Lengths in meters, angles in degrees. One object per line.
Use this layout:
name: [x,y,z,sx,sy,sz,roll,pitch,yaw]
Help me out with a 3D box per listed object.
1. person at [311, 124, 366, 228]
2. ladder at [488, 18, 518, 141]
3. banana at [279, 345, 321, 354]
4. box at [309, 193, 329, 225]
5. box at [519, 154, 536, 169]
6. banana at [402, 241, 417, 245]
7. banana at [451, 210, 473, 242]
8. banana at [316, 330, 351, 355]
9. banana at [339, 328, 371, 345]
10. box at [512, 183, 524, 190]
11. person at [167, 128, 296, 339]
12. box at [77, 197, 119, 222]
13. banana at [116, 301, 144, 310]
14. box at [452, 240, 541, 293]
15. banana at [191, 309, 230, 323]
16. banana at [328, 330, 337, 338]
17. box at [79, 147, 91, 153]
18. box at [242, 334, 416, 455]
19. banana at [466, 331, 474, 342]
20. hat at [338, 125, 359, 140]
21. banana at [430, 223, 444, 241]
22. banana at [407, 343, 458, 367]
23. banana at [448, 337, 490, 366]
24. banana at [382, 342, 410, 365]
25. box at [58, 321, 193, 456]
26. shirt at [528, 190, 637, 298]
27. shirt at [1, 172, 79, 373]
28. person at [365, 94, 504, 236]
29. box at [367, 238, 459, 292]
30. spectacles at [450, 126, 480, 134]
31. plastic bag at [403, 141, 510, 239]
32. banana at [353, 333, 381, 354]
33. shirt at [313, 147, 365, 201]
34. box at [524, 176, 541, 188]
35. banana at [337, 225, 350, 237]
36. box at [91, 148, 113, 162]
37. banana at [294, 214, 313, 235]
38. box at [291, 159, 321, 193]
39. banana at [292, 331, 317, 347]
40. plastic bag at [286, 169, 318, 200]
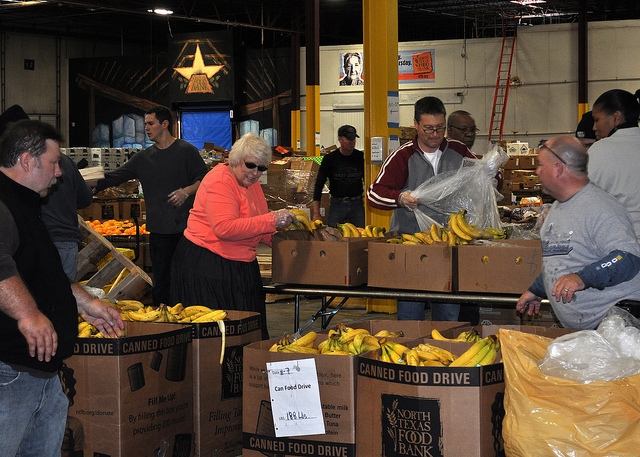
person: [0.261,-0.693,8.166,0.716,1.453,0.431,0,9,3]
ladder: [5.653,-4.604,18.061,0.603,3.623,1.121,6,11,39]
banana: [-0.079,0.537,2.581,0.088,0.026,0.069,4,-7,-37]
box: [-0.002,-0.277,8.601,0.367,0.578,0.292,1,-20,-2]
box: [4.729,-1.518,13.337,0.293,0.214,0.319,0,6,11]
banana: [0.590,0.099,3.859,0.031,0.033,0.102,10,13,37]
banana: [0.945,-0.009,3.934,0.119,0.179,0.166,-2,10,-8]
banana: [0.052,0.514,2.637,0.071,0.084,0.127,5,3,8]
banana: [0.160,0.480,2.670,0.045,0.062,0.211,2,5,36]
box: [4.343,-0.916,12.839,0.225,0.137,0.082,3,10,20]
person: [-0.566,0.319,3.837,0.724,1.818,0.725,-4,14,-22]
box: [-2.902,-0.223,7.625,0.308,0.257,0.176,-1,-2,-14]
banana: [-1.124,0.459,3.439,0.121,0.036,0.046,4,24,-20]
box: [1.098,0.247,3.633,0.310,0.233,0.472,0,2,19]
banana: [-0.593,0.480,3.152,0.177,0.049,0.122,6,12,31]
banana: [0.054,0.499,2.742,0.021,0.030,0.030,-5,7,-12]
box: [-4.632,-1.541,11.550,0.200,0.106,0.217,1,5,12]
box: [-0.050,0.693,2.548,0.446,0.314,0.449,-3,-1,34]
banana: [0.699,0.509,2.721,0.009,0.041,0.007,32,-8,17]
hat: [0.385,-1.321,8.077,0.244,0.159,0.172,11,15,42]
banana: [0.785,0.041,3.972,0.036,0.172,0.054,-32,-35,32]
banana: [0.464,0.547,2.494,0.128,0.057,0.107,1,4,5]
banana: [0.639,0.536,2.503,0.046,0.127,0.027,45,1,-12]
banana: [0.319,0.533,2.480,0.061,0.044,0.098,-22,41,-30]
box: [-0.949,0.733,2.893,0.553,0.621,0.575,1,-7,-19]
shirt: [1.155,0.116,2.597,0.390,0.465,0.129,-10,-39,34]
shirt: [-1.164,0.192,2.370,0.239,0.825,0.320,-1,9,-1]
person: [0.720,-0.445,4.282,0.705,1.012,0.535,2,9,15]
box: [0.594,0.259,3.763,0.352,0.206,0.371,0,2,22]
spectacles: [1.290,-0.869,5.171,0.220,0.069,0.106,-5,11,-21]
plastic bag: [0.938,-0.235,4.241,0.744,0.857,0.297,-3,46,5]
banana: [0.207,0.522,2.640,0.085,0.080,0.035,17,-36,-8]
shirt: [0.347,-0.784,8.358,0.975,0.876,0.434,-5,40,-4]
box: [4.562,-0.985,12.615,0.259,0.249,0.278,0,10,3]
banana: [0.177,0.014,4.351,0.077,0.057,0.281,-1,11,-3]
box: [-4.277,-1.413,11.453,0.295,0.327,0.304,-1,1,38]
banana: [-0.090,-0.031,4.056,0.096,0.115,0.165,-9,13,-41]
box: [-0.234,-0.855,10.501,0.578,0.772,0.516,1,-3,25]
banana: [-0.071,0.521,2.739,0.039,0.056,0.145,31,16,20]
plastic bag: [-0.314,-0.875,10.423,0.697,0.566,0.426,9,10,26]
